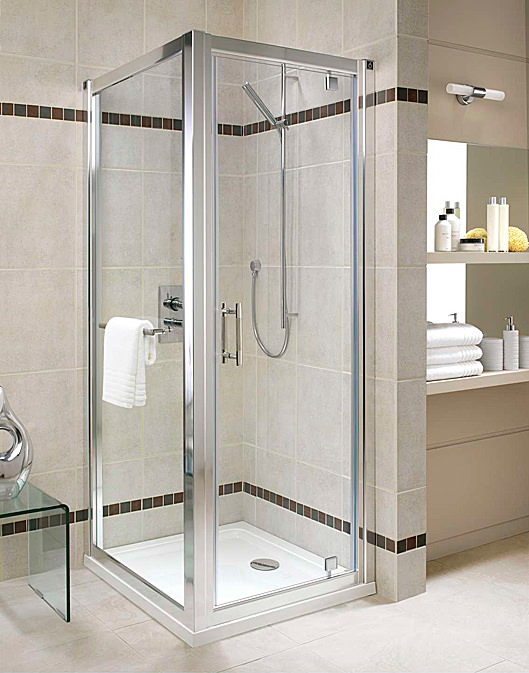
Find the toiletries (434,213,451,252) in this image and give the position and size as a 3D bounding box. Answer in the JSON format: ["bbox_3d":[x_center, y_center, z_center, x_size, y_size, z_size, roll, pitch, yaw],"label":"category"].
[{"bbox_3d":[0.681,-0.396,2.473,0.063,0.148,0.145,0,0,17],"label":"toiletries"}]

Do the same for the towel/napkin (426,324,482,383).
[{"bbox_3d":[0.692,0.083,2.379,0.178,0.125,0.207,2,-3,-24],"label":"towel/napkin"}]

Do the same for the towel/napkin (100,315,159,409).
[{"bbox_3d":[-0.437,0.082,2.119,0.078,0.303,0.240,-4,7,-34],"label":"towel/napkin"}]

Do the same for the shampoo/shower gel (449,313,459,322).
[{"bbox_3d":[0.775,-0.081,2.643,0.033,0.050,0.026,2,-3,-35],"label":"shampoo/shower gel"}]

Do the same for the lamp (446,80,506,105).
[{"bbox_3d":[0.820,-0.968,2.539,0.323,0.101,0.101,-7,8,-38],"label":"lamp"}]

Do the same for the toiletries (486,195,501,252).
[{"bbox_3d":[0.905,-0.434,2.563,0.045,0.182,0.067,0,-1,19],"label":"toiletries"}]

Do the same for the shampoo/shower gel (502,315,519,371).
[{"bbox_3d":[1.015,0.029,2.645,0.117,0.215,0.052,1,-1,-34],"label":"shampoo/shower gel"}]

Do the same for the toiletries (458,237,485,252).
[{"bbox_3d":[0.808,-0.350,2.521,0.058,0.047,0.069,0,2,-8],"label":"toiletries"}]
